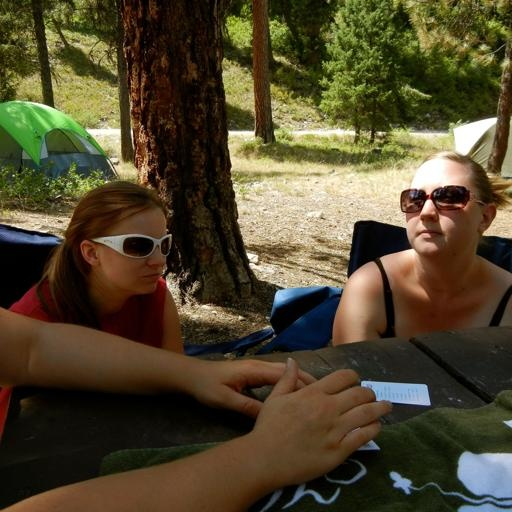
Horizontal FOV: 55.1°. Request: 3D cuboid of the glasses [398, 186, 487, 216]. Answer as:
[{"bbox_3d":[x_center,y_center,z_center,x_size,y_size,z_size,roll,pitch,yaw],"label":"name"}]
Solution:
[{"bbox_3d":[0.690,-0.225,1.955,0.269,0.126,0.121,15,21,37],"label":"glasses"}]
